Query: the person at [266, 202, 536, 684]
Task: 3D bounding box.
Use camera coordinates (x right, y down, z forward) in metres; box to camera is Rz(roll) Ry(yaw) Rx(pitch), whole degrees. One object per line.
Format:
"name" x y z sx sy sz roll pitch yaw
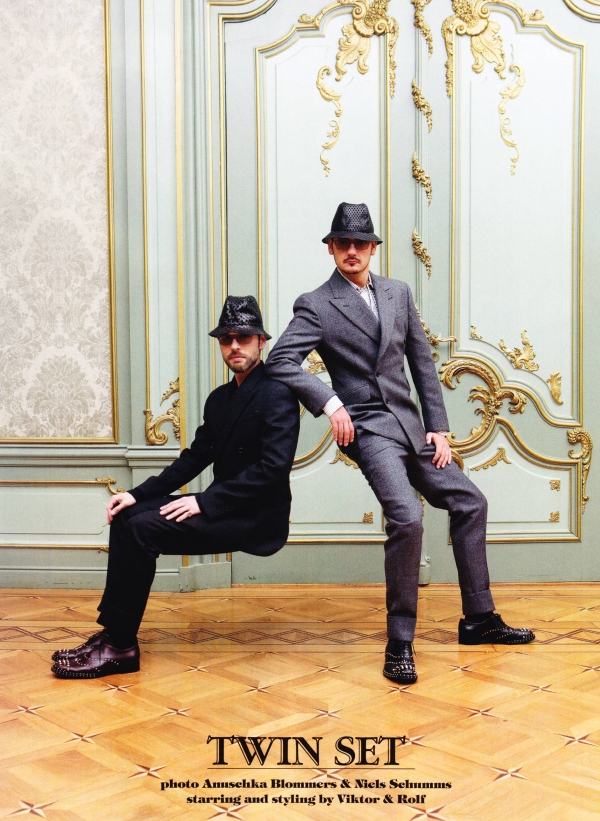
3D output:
"person" 0.273 0.048 2.689 0.578 1.297 0.539 2 1 41

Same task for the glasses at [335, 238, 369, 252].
"glasses" 0.149 -0.483 2.670 0.054 0.016 0.051 0 -13 9

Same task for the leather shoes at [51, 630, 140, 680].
"leather shoes" -0.545 0.658 2.446 0.182 0.063 0.117 3 -7 -11

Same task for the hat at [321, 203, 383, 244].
"hat" 0.142 -0.557 2.693 0.144 0.133 0.161 1 1 -18

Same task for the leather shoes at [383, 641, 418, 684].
"leather shoes" 0.263 0.662 2.409 0.086 0.081 0.153 1 1 5

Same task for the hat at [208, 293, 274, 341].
"hat" -0.168 -0.267 2.612 0.148 0.079 0.141 1 12 3

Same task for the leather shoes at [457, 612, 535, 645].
"leather shoes" 0.569 0.656 2.751 0.270 0.095 0.083 -1 -6 0

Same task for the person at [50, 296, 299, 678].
"person" -0.349 0.280 2.592 0.656 0.859 0.304 1 1 -10
